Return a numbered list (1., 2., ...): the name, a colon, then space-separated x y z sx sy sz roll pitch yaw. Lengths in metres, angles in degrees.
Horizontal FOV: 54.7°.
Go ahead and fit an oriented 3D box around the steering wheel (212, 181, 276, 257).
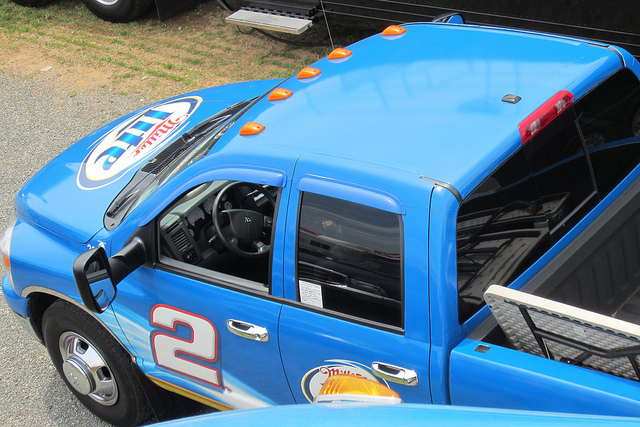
1. steering wheel: -0.548 0.044 4.769 0.658 0.592 0.104 2 10 29
